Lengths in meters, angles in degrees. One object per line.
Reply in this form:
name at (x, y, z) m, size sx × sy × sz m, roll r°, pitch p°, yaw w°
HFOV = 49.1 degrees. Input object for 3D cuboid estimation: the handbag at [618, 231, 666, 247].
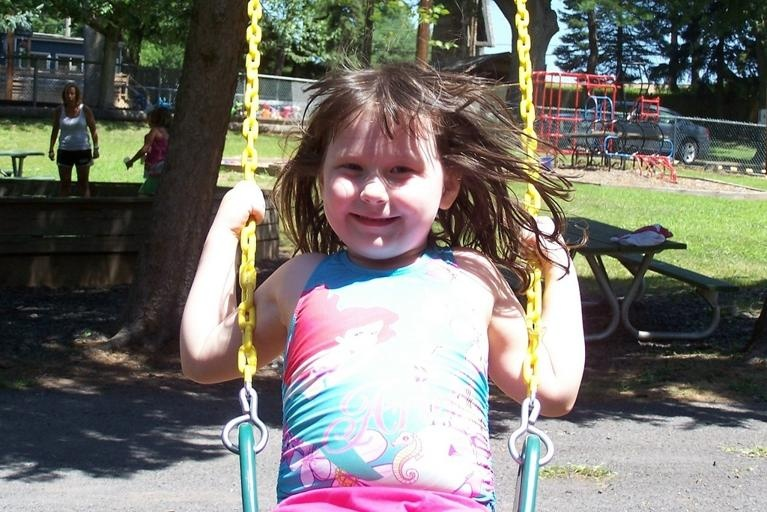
handbag at (2.535, -0.185, 8.199) m, size 0.463 × 0.129 × 0.332 m, roll -4°, pitch 11°, yaw -42°
